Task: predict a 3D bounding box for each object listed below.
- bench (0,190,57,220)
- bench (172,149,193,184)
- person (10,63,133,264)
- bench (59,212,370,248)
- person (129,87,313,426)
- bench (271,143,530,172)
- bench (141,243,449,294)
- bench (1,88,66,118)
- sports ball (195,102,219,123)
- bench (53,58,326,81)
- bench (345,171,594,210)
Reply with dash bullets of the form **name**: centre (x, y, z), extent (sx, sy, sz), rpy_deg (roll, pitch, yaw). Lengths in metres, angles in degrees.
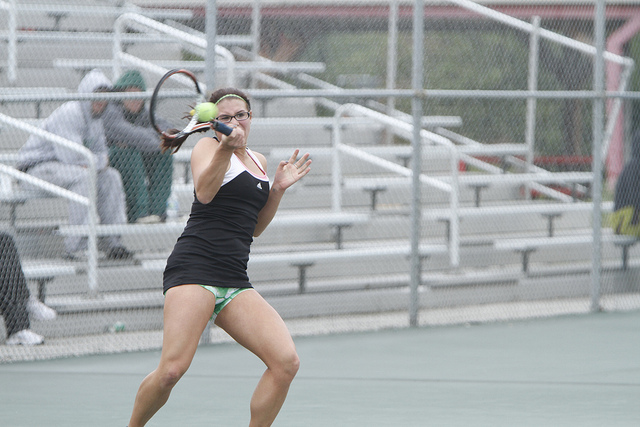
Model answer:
- **bench**: centre (-2.981, -0.109, 11.191), extent (0.866, 0.244, 0.035), rpy_deg (-2, -11, -9)
- **bench**: centre (-1.451, -0.482, 11.812), extent (0.054, 0.371, 0.393), rpy_deg (8, 10, 33)
- **person**: centre (-2.493, -0.495, 11.335), extent (1.121, 1.998, 0.306), rpy_deg (-2, 7, -9)
- **bench**: centre (-0.676, 0.121, 12.141), extent (2.873, 0.360, 0.287), rpy_deg (1, 7, -28)
- **person**: centre (-0.803, 0.402, 9.525), extent (1.443, 2.889, 1.141), rpy_deg (0, 7, 0)
- **bench**: centre (0.943, -0.583, 12.481), extent (2.775, 0.349, 0.782), rpy_deg (-3, 7, -25)
- **bench**: centre (0.088, 0.467, 12.053), extent (3.301, 0.485, 0.509), rpy_deg (1, 8, -23)
- **bench**: centre (-2.873, -1.103, 11.226), extent (0.569, 0.202, 0.120), rpy_deg (-7, -12, -15)
- **sports ball**: centre (-0.910, -0.827, 9.269), extent (0.210, 0.151, 0.168), rpy_deg (8, 27, 14)
- **bench**: centre (-1.368, -1.518, 11.889), extent (2.769, 0.234, 0.745), rpy_deg (-2, 7, -14)
- **bench**: centre (1.655, -0.254, 12.641), extent (2.856, 0.390, 0.463), rpy_deg (-2, 7, -13)
